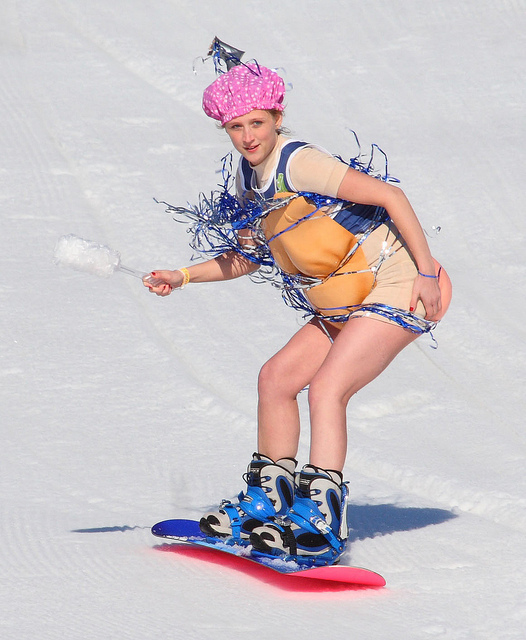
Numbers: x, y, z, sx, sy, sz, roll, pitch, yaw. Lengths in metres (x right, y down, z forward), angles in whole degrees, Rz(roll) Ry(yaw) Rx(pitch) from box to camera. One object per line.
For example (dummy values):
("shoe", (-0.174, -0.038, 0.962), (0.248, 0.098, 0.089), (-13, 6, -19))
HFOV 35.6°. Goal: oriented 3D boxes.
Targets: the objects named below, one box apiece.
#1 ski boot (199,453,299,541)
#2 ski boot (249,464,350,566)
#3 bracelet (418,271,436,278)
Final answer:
("ski boot", (-0.053, 0.582, 2.664), (0.402, 0.230, 0.139), (-1, 0, -37))
("ski boot", (0.112, 0.618, 2.543), (0.204, 0.397, 0.282), (-8, 71, 39))
("bracelet", (0.516, -0.139, 2.561), (0.055, 0.021, 0.021), (2, 47, -1))
